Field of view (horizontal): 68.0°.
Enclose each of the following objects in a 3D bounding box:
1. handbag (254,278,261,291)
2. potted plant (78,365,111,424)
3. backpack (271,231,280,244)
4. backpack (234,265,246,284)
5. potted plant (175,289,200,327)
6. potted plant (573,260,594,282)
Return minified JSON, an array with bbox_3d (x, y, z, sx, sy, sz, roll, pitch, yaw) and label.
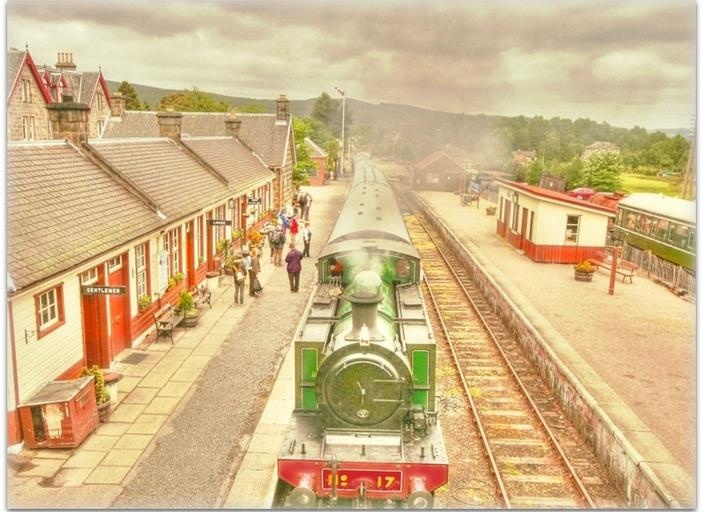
[{"bbox_3d":[-3.955,1.236,21.917,0.217,0.817,0.773,1,18,-5],"label":"handbag"},{"bbox_3d":[-6.425,3.486,12.991,0.916,1.354,0.882,-4,-1,-19],"label":"potted plant"},{"bbox_3d":[-3.637,-0.858,25.291,0.369,0.513,0.499,1,4,-2],"label":"backpack"},{"bbox_3d":[-4.313,0.759,20.126,0.392,0.653,0.677,1,-11,-9],"label":"backpack"},{"bbox_3d":[-5.927,1.940,18.286,0.961,1.402,0.967,6,-8,-37],"label":"potted plant"},{"bbox_3d":[11.284,0.799,25.493,0.837,1.022,1.023,2,6,1],"label":"potted plant"}]
